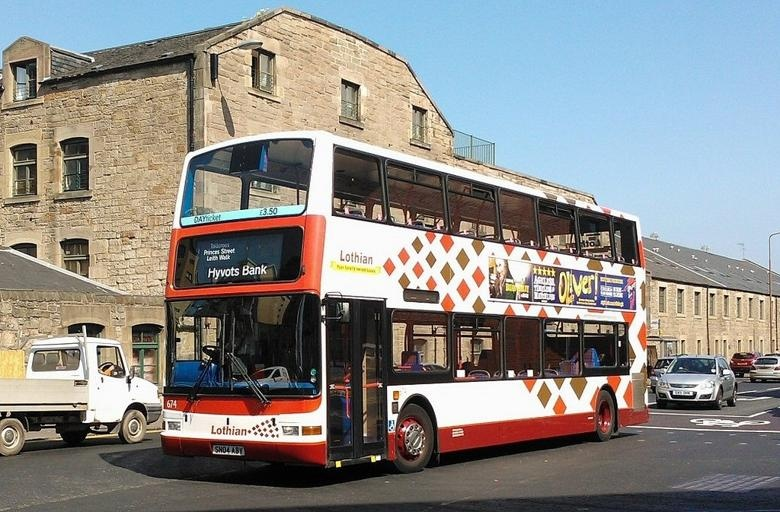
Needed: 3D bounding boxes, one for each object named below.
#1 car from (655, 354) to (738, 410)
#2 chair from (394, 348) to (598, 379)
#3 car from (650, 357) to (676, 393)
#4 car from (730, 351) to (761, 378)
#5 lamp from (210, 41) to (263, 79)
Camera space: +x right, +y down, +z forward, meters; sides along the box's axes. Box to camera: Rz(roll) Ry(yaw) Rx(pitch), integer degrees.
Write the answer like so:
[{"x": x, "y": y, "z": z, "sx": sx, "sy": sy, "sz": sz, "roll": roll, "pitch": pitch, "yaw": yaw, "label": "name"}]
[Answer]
[{"x": 11.979, "y": 4.996, "z": 33.265, "sx": 2.562, "sy": 2.085, "sz": 2.791, "roll": -6, "pitch": -11, "yaw": 26, "label": "car"}, {"x": 2.320, "y": 2.525, "z": 19.664, "sx": 4.368, "sy": 0.639, "sz": 0.891, "roll": 6, "pitch": -9, "yaw": -41, "label": "chair"}, {"x": 14.031, "y": 6.169, "z": 42.979, "sx": 1.522, "sy": 1.434, "sz": 2.861, "roll": -1, "pitch": -7, "yaw": 22, "label": "car"}, {"x": 27.300, "y": 8.234, "z": 65.588, "sx": 2.441, "sy": 1.992, "sz": 5.146, "roll": -4, "pitch": -10, "yaw": 27, "label": "car"}, {"x": -5.810, "y": -7.314, "z": 31.675, "sx": 1.927, "sy": 1.276, "sz": 0.690, "roll": -5, "pitch": -14, "yaw": 4, "label": "lamp"}]
